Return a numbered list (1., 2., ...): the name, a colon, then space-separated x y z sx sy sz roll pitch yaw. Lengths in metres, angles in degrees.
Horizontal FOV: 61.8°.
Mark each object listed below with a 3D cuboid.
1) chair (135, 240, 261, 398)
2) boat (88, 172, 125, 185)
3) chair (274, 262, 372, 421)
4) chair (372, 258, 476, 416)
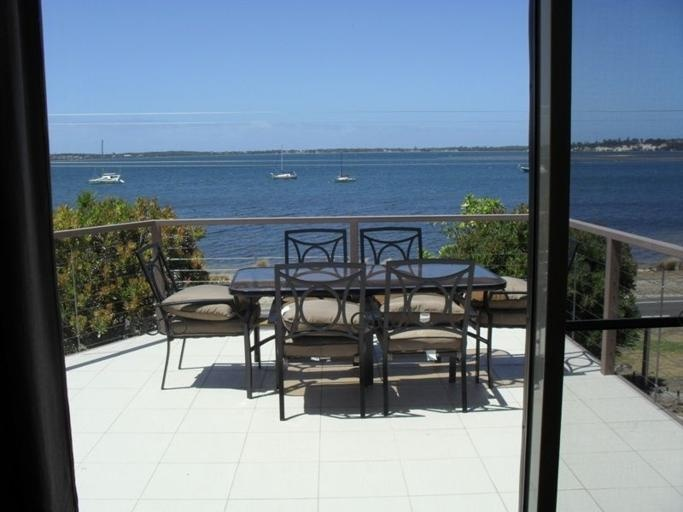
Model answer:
1. chair: -0.908 0.369 3.860 0.876 1.199 0.861 -1 5 -1
2. boat: -12.758 -4.193 31.108 1.566 0.591 0.498 -4 9 -42
3. chair: -0.106 0.484 3.184 0.613 1.068 0.650 -1 19 -2
4. chair: 0.465 0.384 3.294 0.571 0.935 0.580 -3 16 -11
